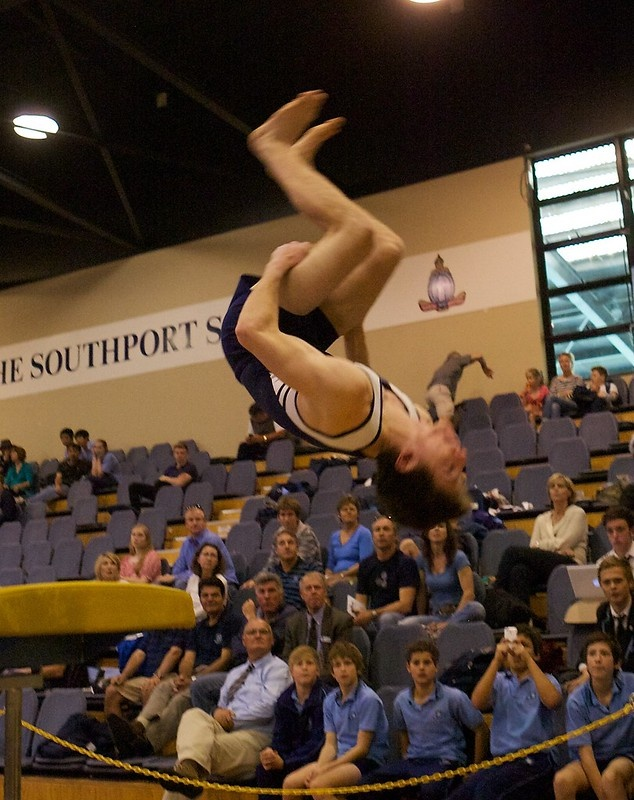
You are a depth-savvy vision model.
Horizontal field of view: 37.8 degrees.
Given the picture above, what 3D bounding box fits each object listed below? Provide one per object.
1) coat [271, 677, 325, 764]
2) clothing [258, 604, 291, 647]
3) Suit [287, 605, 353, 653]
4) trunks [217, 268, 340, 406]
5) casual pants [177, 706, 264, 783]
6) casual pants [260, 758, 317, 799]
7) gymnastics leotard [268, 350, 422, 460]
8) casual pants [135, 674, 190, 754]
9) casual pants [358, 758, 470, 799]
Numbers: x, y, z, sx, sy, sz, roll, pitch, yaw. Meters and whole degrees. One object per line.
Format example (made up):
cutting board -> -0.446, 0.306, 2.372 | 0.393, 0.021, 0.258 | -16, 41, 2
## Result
coat -> -0.087, 1.604, 4.584 | 0.299, 0.361, 0.305 | -7, -7, -2
clothing -> -0.234, 1.294, 5.369 | 0.140, 0.190, 0.074 | -2, -1, 2
Suit -> -0.011, 1.263, 5.104 | 0.408, 0.239, 0.170 | -11, -8, 24
trunks -> -0.174, -0.197, 3.024 | 0.130, 0.394, 0.428 | -13, 41, -41
casual pants -> -0.498, 1.750, 4.704 | 0.246, 0.175, 0.459 | 16, -1, 40
casual pants -> -0.148, 1.820, 4.504 | 0.244, 0.185, 0.091 | 9, 22, 6
gymnastics leotard -> 0.086, 0.024, 2.852 | 0.458, 0.303, 0.316 | -8, -7, 6
casual pants -> -0.905, 1.820, 5.449 | 0.254, 0.201, 0.417 | 2, 39, -7
casual pants -> 0.420, 1.676, 4.111 | 0.406, 0.124, 0.317 | -6, -13, -16
